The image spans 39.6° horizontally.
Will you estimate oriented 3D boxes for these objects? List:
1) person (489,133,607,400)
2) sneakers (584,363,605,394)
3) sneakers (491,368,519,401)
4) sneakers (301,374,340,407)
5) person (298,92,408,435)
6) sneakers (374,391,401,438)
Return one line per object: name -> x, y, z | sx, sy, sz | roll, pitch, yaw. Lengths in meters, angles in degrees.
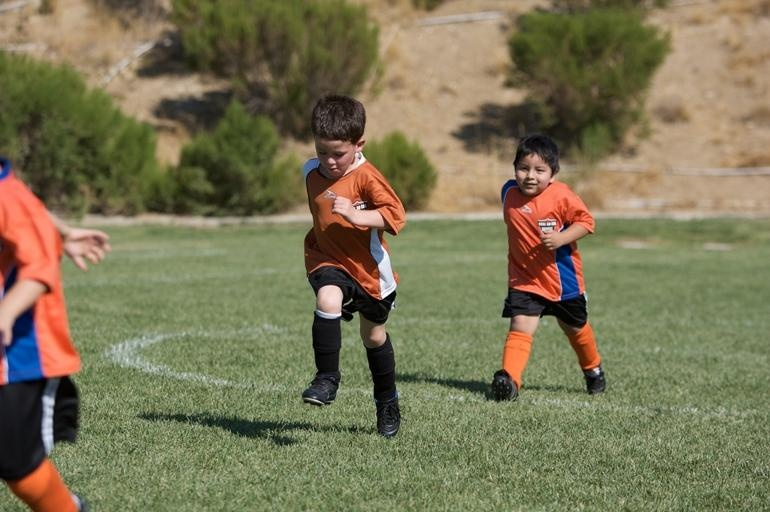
person -> 1.113, 0.077, 7.403 | 0.842, 1.777, 0.607 | -1, 13, -11
sneakers -> 1.486, 0.887, 7.566 | 0.118, 0.209, 0.203 | -4, -9, 12
sneakers -> 0.803, 0.872, 7.233 | 0.139, 0.220, 0.215 | 0, -19, 2
sneakers -> -0.395, 0.822, 6.504 | 0.146, 0.159, 0.247 | 5, 13, 17
person -> -0.191, 0.075, 6.651 | 0.633, 2.068, 0.700 | 0, 12, -3
sneakers -> 0.024, 1.013, 6.745 | 0.103, 0.297, 0.119 | -2, -35, 3
